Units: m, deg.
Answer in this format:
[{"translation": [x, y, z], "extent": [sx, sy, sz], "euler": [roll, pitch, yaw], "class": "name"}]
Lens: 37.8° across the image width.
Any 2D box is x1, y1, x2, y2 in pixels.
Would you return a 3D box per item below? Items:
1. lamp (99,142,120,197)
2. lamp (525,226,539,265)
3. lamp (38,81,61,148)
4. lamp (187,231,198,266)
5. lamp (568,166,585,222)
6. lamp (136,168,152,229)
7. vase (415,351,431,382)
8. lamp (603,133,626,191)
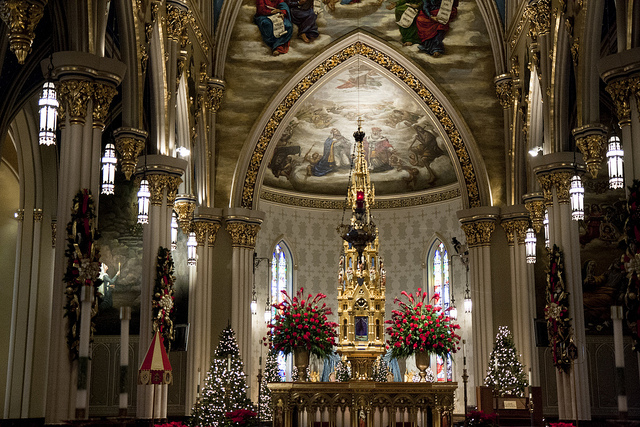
[{"translation": [-5.202, -1.208, 23.092], "extent": [0.328, 1.453, 0.853], "euler": [6, -20, -15], "class": "lamp"}, {"translation": [6.581, 0.936, 29.233], "extent": [0.296, 1.336, 0.931], "euler": [-4, -20, 11], "class": "lamp"}, {"translation": [-6.171, -2.360, 21.296], "extent": [0.425, 1.577, 0.533], "euler": [8, -21, -20], "class": "lamp"}, {"translation": [-4.120, 1.093, 30.191], "extent": [0.317, 1.269, 0.878], "euler": [3, -20, -8], "class": "lamp"}, {"translation": [6.803, -0.495, 24.827], "extent": [0.361, 1.459, 0.715], "euler": [-5, -20, 14], "class": "lamp"}, {"translation": [-4.695, -0.427, 25.051], "extent": [0.314, 1.355, 0.512], "euler": [4, -20, -10], "class": "lamp"}, {"translation": [2.713, 4.144, 24.734], "extent": [0.380, 0.843, 1.141], "euler": [-2, -21, 6], "class": "vase"}, {"translation": [7.359, -1.440, 23.389], "extent": [0.388, 1.507, 1.040], "euler": [-6, -21, 17], "class": "lamp"}]
